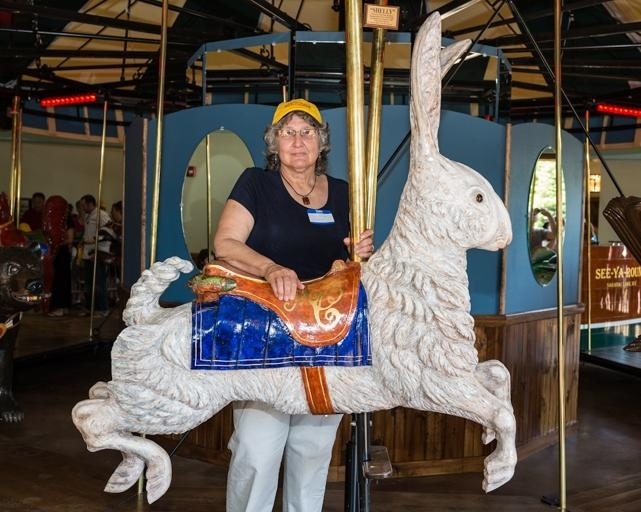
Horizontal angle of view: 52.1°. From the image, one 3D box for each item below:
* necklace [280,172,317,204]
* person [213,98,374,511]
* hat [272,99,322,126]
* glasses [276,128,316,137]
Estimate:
[{"bbox_3d":[-0.095,-0.277,2.690,0.008,0.122,0.116,-18,-4,42],"label":"necklace"},{"bbox_3d":[-0.101,0.224,2.610,0.624,1.706,0.492,1,1,-18],"label":"person"},{"bbox_3d":[-0.107,-0.611,2.702,0.161,0.120,0.253,-2,2,-10],"label":"hat"},{"bbox_3d":[-0.088,-0.489,2.611,0.143,0.040,0.025,1,1,-1],"label":"glasses"}]
